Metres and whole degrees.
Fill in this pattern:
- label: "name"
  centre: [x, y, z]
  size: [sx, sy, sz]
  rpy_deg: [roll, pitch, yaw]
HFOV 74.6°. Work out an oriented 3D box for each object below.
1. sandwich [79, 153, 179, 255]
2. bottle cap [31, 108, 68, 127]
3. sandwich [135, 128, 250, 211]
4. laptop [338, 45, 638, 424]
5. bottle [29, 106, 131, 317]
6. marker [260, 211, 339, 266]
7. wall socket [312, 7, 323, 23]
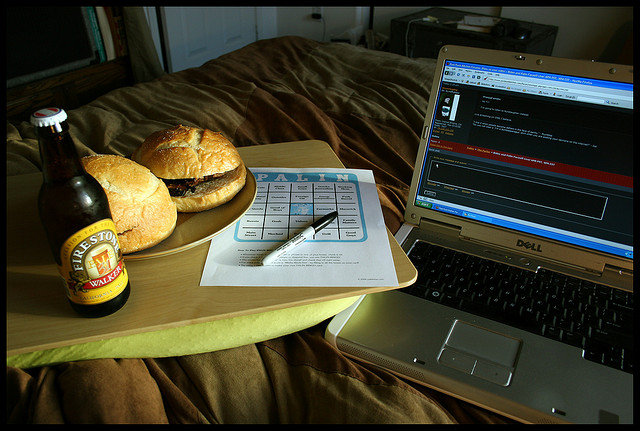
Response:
- label: "sandwich"
  centre: [-0.372, -0.041, 0.789]
  size: [0.193, 0.062, 0.143]
  rpy_deg: [45, 39, 14]
- label: "bottle cap"
  centre: [-0.394, -0.143, 0.611]
  size: [0.035, 0.008, 0.033]
  rpy_deg: [-18, 43, -30]
- label: "sandwich"
  centre: [-0.274, -0.138, 0.939]
  size: [0.211, 0.094, 0.273]
  rpy_deg: [-10, 32, -22]
- label: "laptop"
  centre: [0.382, 0.011, 0.804]
  size: [0.497, 0.512, 0.490]
  rpy_deg: [17, 37, 19]
- label: "bottle"
  centre: [-0.378, 0.006, 0.654]
  size: [0.093, 0.306, 0.134]
  rpy_deg: [-18, 41, -28]
- label: "marker"
  centre: [-0.034, 0.039, 0.830]
  size: [0.207, 0.038, 0.020]
  rpy_deg: [-26, 44, -37]
- label: "wall socket"
  centre: [-0.025, -1.755, 3.694]
  size: [0.091, 0.128, 0.070]
  rpy_deg: [6, 35, 4]
